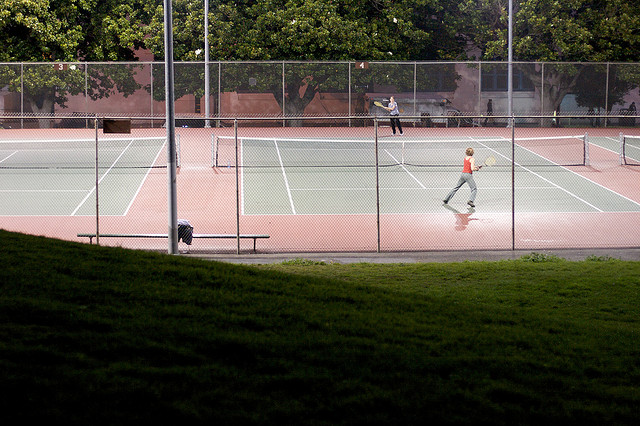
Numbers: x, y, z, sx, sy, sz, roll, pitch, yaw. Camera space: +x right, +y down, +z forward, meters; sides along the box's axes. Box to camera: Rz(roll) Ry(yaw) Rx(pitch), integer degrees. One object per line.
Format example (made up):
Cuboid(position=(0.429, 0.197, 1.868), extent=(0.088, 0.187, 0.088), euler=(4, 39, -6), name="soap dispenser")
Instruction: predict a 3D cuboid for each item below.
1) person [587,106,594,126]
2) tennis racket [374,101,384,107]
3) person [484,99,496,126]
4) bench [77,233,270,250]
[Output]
Cuboid(position=(13.866, -5.012, 38.494), extent=(0.234, 0.970, 0.406), euler=(1, 3, 24), name="person")
Cuboid(position=(2.904, -5.521, 37.869), extent=(0.387, 0.322, 0.893), euler=(0, 3, -1), name="tennis racket")
Cuboid(position=(8.575, -5.186, 38.147), extent=(0.503, 1.297, 1.943), euler=(1, 3, 12), name="person")
Cuboid(position=(-3.823, 0.708, 19.719), extent=(4.803, 0.423, 1.339), euler=(0, 3, -2), name="bench")
